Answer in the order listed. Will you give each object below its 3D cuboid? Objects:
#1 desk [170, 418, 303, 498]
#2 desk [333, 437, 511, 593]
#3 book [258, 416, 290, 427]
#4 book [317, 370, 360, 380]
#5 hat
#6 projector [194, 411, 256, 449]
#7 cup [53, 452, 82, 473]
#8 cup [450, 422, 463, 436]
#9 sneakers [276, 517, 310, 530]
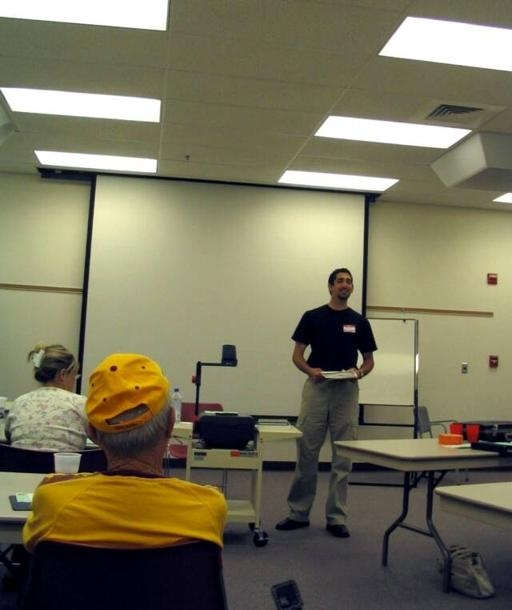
[{"bbox_3d":[-0.194,0.969,3.950,1.122,0.656,1.071,1,-8,-4],"label":"desk"},{"bbox_3d":[1.026,1.171,3.256,0.986,0.782,0.932,0,0,-22],"label":"desk"},{"bbox_3d":[0.120,0.829,3.840,0.237,0.050,0.204,1,-3,3],"label":"book"},{"bbox_3d":[0.575,0.482,3.711,0.246,0.080,0.333,2,-6,9],"label":"book"},{"bbox_3d":[-0.277,0.184,1.137,0.146,0.073,0.187,-4,45,-1],"label":"hat"},{"bbox_3d":[-0.190,0.792,3.390,0.306,0.154,0.244,2,-3,0],"label":"projector"},{"bbox_3d":[-0.651,0.552,1.868,0.110,0.072,0.066,2,-12,-12],"label":"cup"},{"bbox_3d":[1.268,0.792,3.407,0.061,0.060,0.109,-15,4,2],"label":"cup"},{"bbox_3d":[0.253,1.554,3.830,0.243,0.088,0.085,2,-6,-13],"label":"sneakers"}]
